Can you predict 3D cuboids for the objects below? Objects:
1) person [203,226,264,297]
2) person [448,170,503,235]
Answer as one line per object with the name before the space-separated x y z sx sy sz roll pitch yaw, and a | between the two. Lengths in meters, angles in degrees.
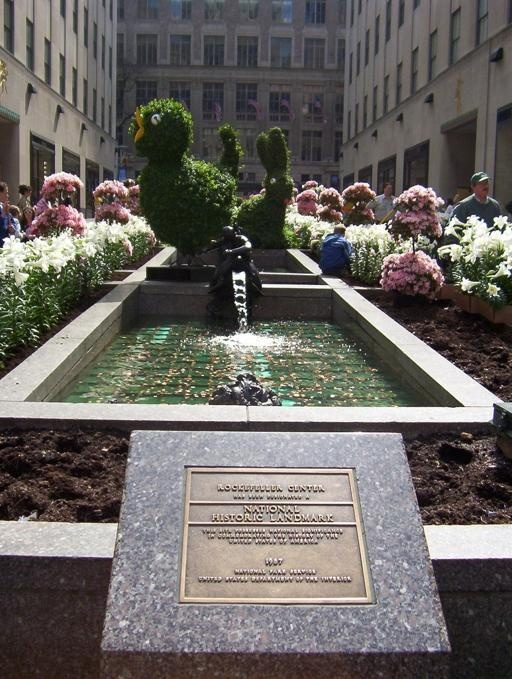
person | -0.366 -1.431 9.290 1.003 1.260 0.854 1 10 -2
person | 3.620 -2.157 8.206 0.974 0.952 0.518 -3 4 -13
